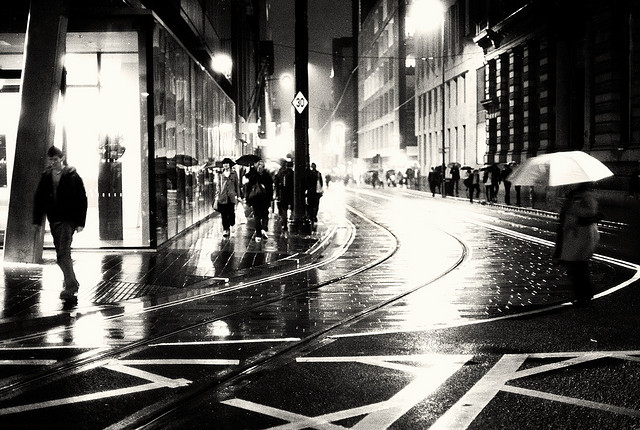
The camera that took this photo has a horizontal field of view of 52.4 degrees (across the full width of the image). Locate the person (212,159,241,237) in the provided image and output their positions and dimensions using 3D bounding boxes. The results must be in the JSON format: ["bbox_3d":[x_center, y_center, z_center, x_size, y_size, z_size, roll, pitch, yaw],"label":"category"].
[{"bbox_3d":[-2.967,-0.571,20.925,0.718,2.457,1.076,0,4,3],"label":"person"}]

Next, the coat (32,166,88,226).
[{"bbox_3d":[-4.757,-0.340,11.827,1.087,1.276,0.670,-2,-13,8],"label":"coat"}]

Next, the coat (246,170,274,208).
[{"bbox_3d":[-1.793,-0.781,20.004,0.376,1.137,0.793,-3,-8,45],"label":"coat"}]

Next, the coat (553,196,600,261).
[{"bbox_3d":[4.325,0.207,10.967,0.677,1.069,0.456,1,4,21],"label":"coat"}]

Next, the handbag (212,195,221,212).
[{"bbox_3d":[-3.263,-0.406,20.583,0.160,0.485,0.386,-2,4,-12],"label":"handbag"}]

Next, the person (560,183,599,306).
[{"bbox_3d":[4.355,0.447,10.924,0.574,1.975,0.642,1,4,24],"label":"person"}]

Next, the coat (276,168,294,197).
[{"bbox_3d":[-1.319,-1.211,23.852,0.798,1.040,0.437,3,6,43],"label":"coat"}]

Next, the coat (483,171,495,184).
[{"bbox_3d":[9.966,-2.263,38.526,0.381,0.720,1.414,-1,5,-3],"label":"coat"}]

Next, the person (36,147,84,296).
[{"bbox_3d":[-4.606,0.058,11.624,0.927,2.537,0.486,2,5,33],"label":"person"}]

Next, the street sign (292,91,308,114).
[{"bbox_3d":[-0.661,-3.754,21.705,0.502,0.740,0.229,-1,4,-3],"label":"street sign"}]

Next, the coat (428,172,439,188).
[{"bbox_3d":[8.606,-2.678,49.252,0.603,1.151,1.194,-2,5,-17],"label":"coat"}]
